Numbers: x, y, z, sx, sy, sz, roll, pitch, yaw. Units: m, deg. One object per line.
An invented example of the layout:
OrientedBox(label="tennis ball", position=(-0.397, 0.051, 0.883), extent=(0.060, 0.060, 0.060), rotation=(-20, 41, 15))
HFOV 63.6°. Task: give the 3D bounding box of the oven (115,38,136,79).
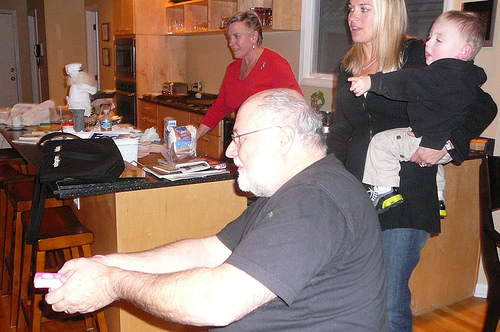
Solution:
OrientedBox(label="oven", position=(-2.029, -1.781, 6.549), extent=(0.391, 0.650, 0.768), rotation=(0, 7, -25))

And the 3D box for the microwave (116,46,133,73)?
OrientedBox(label="microwave", position=(-2.031, -1.791, 6.711), extent=(0.442, 0.413, 0.236), rotation=(10, 11, 26))

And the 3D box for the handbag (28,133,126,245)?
OrientedBox(label="handbag", position=(-0.980, -0.032, 2.502), extent=(0.600, 0.648, 0.764), rotation=(-2, 23, -22))

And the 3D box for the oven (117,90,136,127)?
OrientedBox(label="oven", position=(-2.050, -1.023, 6.902), extent=(0.399, 0.531, 0.386), rotation=(12, 21, 21))

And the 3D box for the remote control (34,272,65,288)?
OrientedBox(label="remote control", position=(-0.824, 0.465, 1.641), extent=(0.081, 0.023, 0.077), rotation=(3, 4, -12))
